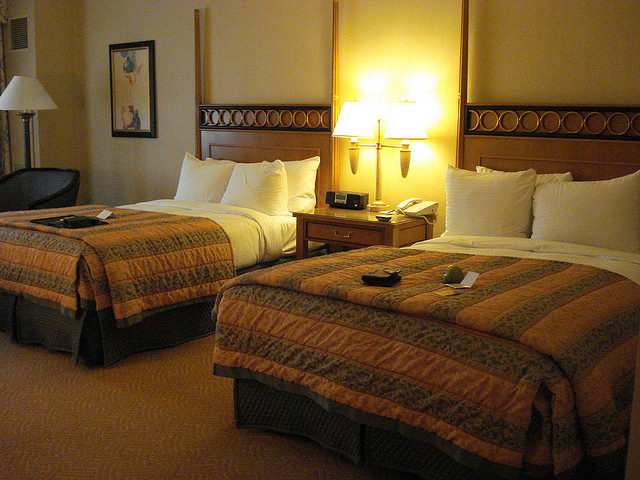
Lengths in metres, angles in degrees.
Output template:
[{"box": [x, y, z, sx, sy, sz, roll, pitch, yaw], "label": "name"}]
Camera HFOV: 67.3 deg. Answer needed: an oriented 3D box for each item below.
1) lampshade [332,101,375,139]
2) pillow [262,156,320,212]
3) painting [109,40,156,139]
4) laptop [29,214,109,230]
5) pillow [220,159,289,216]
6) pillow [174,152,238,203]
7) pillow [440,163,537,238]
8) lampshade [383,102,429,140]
[{"box": [0.302, -1.028, 4.183, 0.415, 0.245, 0.341, 3, 8, 14], "label": "lampshade"}, {"box": [-0.269, -0.497, 4.481, 0.763, 0.550, 0.256, 0, -9, 20], "label": "pillow"}, {"box": [-2.332, -1.834, 5.987, 1.061, 1.137, 0.085, 16, 19, 37], "label": "painting"}, {"box": [-1.879, -0.148, 3.600, 0.503, 0.070, 0.327, 8, 15, 32], "label": "laptop"}, {"box": [-0.647, -0.487, 4.445, 0.792, 0.481, 0.479, 7, 11, 35], "label": "pillow"}, {"box": [-1.129, -0.623, 4.873, 0.818, 0.462, 0.268, 7, 1, 29], "label": "pillow"}, {"box": [1.213, -0.267, 3.408, 0.713, 0.479, 0.249, 5, -8, 32], "label": "pillow"}, {"box": [0.715, -0.979, 4.057, 0.423, 0.287, 0.297, 3, 9, 7], "label": "lampshade"}]
